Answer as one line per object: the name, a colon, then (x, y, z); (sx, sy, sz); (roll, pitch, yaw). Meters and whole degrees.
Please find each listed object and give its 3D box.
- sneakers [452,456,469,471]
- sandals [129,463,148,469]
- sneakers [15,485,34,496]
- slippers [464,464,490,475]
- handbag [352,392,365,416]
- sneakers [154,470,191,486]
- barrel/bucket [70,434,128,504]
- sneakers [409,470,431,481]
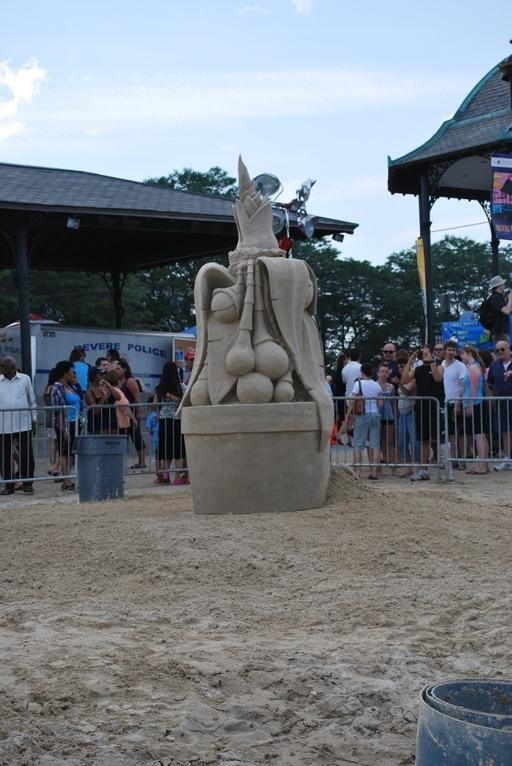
sneakers: (2.264, 0.897, 11.358); (0.105, 0.232, 0.324); (-2, -16, 2)
sandals: (-1.465, 1.051, 12.787); (0.204, 0.088, 0.102); (5, -5, -18)
sneakers: (-2.351, 1.100, 10.449); (0.097, 0.124, 0.296); (-1, 8, -33)
slippers: (2.369, 0.918, 11.015); (0.210, 0.153, 0.120); (4, -1, 9)
handbag: (1.085, 0.239, 10.831); (0.084, 0.232, 0.207); (4, -11, -5)
sneakers: (-0.910, 1.055, 11.197); (0.489, 0.225, 0.171); (3, -2, -2)
barrel/bucket: (-1.369, 0.756, 9.128); (0.435, 0.586, 0.454); (-3, -2, 0)
sneakers: (1.717, 0.974, 10.681); (0.087, 0.116, 0.248); (-5, -7, 33)
